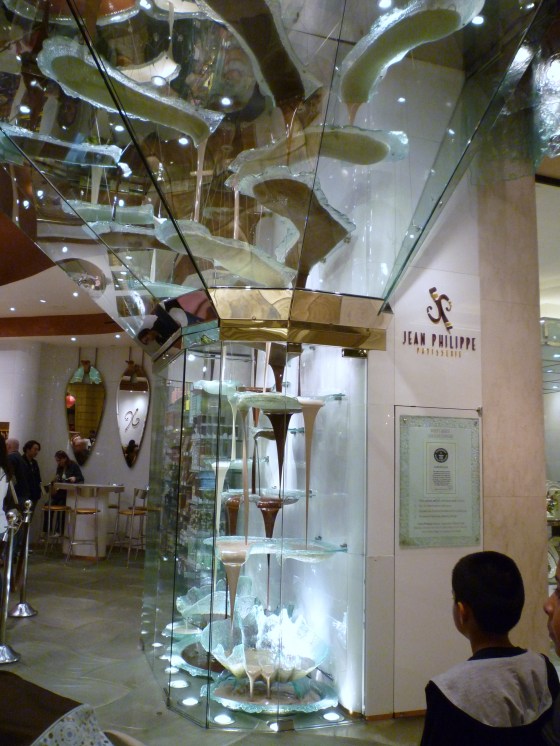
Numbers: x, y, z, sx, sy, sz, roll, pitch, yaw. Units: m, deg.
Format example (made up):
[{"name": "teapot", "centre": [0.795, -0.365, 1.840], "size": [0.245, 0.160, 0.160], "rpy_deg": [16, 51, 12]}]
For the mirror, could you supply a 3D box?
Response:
[{"name": "mirror", "centre": [-2.994, 0.703, 9.729], "size": [1.474, 1.964, 0.204], "rpy_deg": [-5, -8, 3]}]

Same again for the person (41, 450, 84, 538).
[{"name": "person", "centre": [-3.417, 1.849, 8.991], "size": [0.502, 1.268, 0.348], "rpy_deg": [4, 23, 2]}]
